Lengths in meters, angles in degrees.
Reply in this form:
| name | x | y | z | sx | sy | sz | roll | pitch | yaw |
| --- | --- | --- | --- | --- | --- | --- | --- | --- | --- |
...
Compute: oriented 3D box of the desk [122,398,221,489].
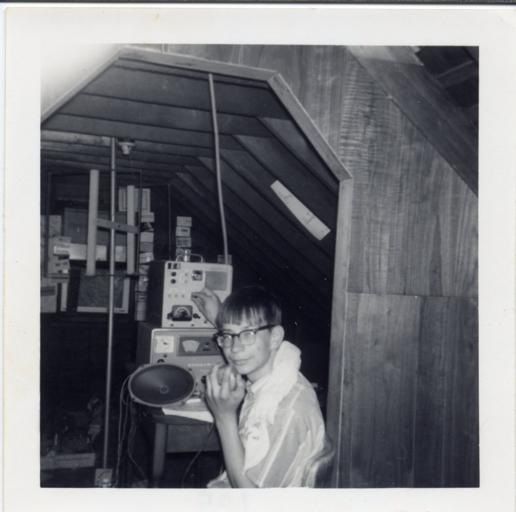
| name | x | y | z | sx | sy | sz | roll | pitch | yaw |
| --- | --- | --- | --- | --- | --- | --- | --- | --- | --- |
| desk | -0.341 | 0.710 | 3.258 | 0.298 | 0.409 | 0.289 | 13 | -22 | -36 |
